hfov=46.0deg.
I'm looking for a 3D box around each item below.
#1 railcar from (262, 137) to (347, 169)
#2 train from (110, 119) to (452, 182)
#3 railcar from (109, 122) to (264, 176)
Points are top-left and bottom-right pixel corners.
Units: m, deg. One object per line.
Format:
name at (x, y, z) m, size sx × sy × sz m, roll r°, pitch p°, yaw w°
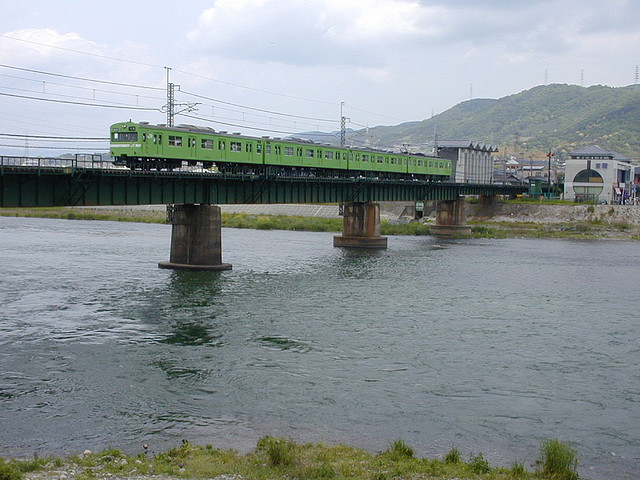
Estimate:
railcar at (-1.562, -8.122, 72.216) m, size 1.737 × 2.361 × 12.410 m, roll 0°, pitch 1°, yaw 37°
train at (-1.351, -7.248, 71.915) m, size 39.910 × 3.100 × 3.092 m, roll -1°, pitch -17°, yaw -43°
railcar at (-10.190, -7.271, 61.094) m, size 2.681 × 3.578 × 16.483 m, roll 4°, pitch 5°, yaw 27°
